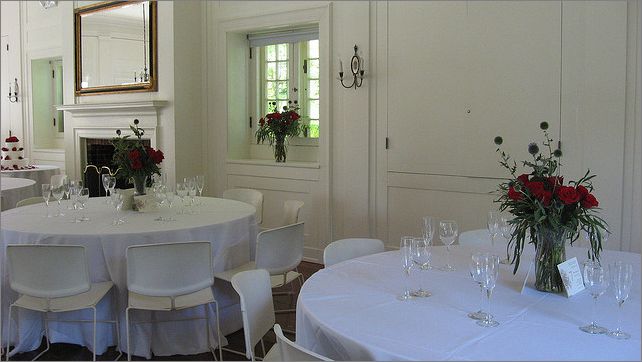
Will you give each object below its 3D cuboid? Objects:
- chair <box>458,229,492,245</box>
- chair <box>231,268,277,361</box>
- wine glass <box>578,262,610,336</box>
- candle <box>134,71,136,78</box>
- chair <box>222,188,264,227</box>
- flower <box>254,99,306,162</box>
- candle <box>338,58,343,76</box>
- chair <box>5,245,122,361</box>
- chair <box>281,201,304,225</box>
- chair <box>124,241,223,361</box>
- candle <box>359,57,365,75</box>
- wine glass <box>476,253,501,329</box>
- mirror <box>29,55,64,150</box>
[{"bbox_3d":[1.494,0.543,4.297,0.198,0.242,0.179,-2,-2,4],"label":"chair"},{"bbox_3d":[-0.524,1.025,3.436,0.215,0.680,0.376,-2,4,20],"label":"chair"},{"bbox_3d":[1.860,0.759,3.009,0.167,0.457,0.345,-1,4,31],"label":"wine glass"},{"bbox_3d":[-3.026,-1.723,7.176,0.065,0.110,0.004,-1,4,26],"label":"candle"},{"bbox_3d":[-0.959,0.316,5.730,0.448,0.714,0.505,0,-5,7],"label":"chair"},{"bbox_3d":[-0.602,-0.784,7.213,0.904,1.155,1.062,1,5,21],"label":"flower"},{"bbox_3d":[0.272,-1.542,6.021,0.071,0.236,0.169,-3,4,3],"label":"candle"},{"bbox_3d":[-2.435,1.135,4.122,0.900,1.204,0.415,-3,4,2],"label":"chair"},{"bbox_3d":[-0.342,0.358,5.211,0.231,0.368,0.289,3,2,31],"label":"chair"},{"bbox_3d":[-1.395,1.145,4.133,0.865,1.205,0.458,-4,4,-15],"label":"chair"},{"bbox_3d":[0.540,-1.532,5.886,0.082,0.265,0.111,-2,4,12],"label":"candle"},{"bbox_3d":[1.161,0.715,3.081,0.138,0.492,0.347,-2,4,20],"label":"wine glass"},{"bbox_3d":[-5.885,-1.660,9.486,0.677,1.882,0.387,-4,4,-18],"label":"mirror"}]
